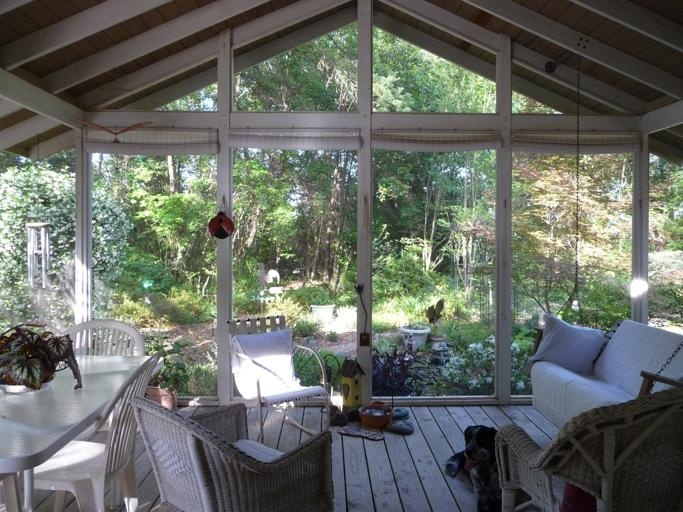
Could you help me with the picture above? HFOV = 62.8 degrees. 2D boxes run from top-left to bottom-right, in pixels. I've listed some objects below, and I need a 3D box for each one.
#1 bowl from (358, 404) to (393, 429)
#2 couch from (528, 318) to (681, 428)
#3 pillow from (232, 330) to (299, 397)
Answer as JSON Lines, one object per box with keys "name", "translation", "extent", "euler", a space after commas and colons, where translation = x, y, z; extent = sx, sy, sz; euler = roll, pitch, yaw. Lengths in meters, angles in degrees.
{"name": "bowl", "translation": [0.329, 1.512, 5.276], "extent": [0.304, 0.197, 0.217], "euler": [0, 3, 3]}
{"name": "couch", "translation": [2.280, 0.972, 4.832], "extent": [0.833, 0.972, 1.464], "euler": [8, -7, 2]}
{"name": "pillow", "translation": [-0.726, 0.929, 5.168], "extent": [0.840, 0.708, 0.453], "euler": [5, -12, -45]}
